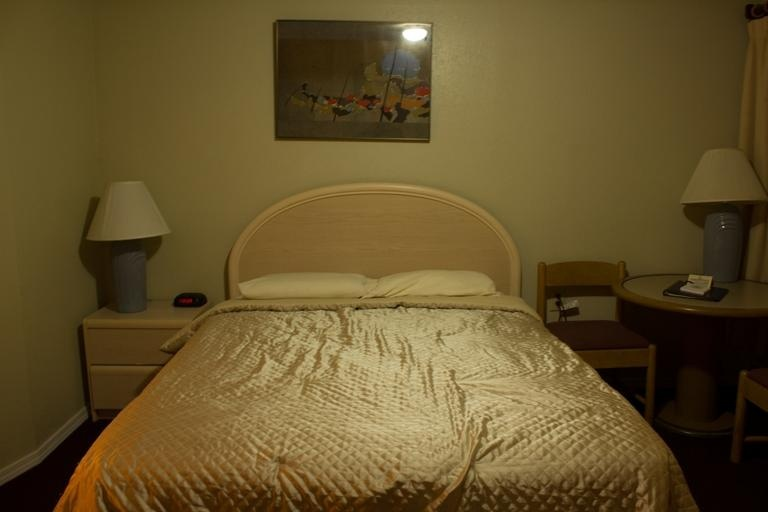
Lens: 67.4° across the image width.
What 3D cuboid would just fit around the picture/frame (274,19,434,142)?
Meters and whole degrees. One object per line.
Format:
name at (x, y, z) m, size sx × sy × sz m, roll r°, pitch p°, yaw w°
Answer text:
picture/frame at (-0.223, -1.269, 4.038) m, size 0.790 × 0.588 × 0.027 m, roll 0°, pitch 5°, yaw 2°

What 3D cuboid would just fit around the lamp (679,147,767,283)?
lamp at (2.337, -0.282, 3.928) m, size 0.511 × 0.881 × 0.387 m, roll -7°, pitch 13°, yaw -30°

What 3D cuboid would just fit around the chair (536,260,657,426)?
chair at (1.427, 0.629, 3.910) m, size 0.836 × 1.119 × 0.874 m, roll 4°, pitch 8°, yaw 33°
